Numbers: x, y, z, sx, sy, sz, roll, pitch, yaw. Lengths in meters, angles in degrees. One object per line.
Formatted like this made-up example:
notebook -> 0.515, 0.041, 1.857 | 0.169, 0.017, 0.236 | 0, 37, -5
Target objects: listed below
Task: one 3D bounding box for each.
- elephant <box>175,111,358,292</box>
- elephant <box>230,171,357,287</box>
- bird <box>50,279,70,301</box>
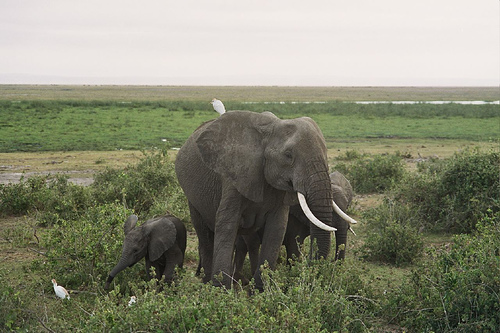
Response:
elephant -> -0.126, 0.880, 12.774 | 2.743, 4.092, 4.364 | 0, 2, -44
elephant -> 1.018, 1.397, 13.703 | 2.937, 2.134, 1.909 | -12, -9, 20
bird -> -4.017, 2.619, 12.887 | 0.548, 0.375, 0.185 | 27, 27, 29
